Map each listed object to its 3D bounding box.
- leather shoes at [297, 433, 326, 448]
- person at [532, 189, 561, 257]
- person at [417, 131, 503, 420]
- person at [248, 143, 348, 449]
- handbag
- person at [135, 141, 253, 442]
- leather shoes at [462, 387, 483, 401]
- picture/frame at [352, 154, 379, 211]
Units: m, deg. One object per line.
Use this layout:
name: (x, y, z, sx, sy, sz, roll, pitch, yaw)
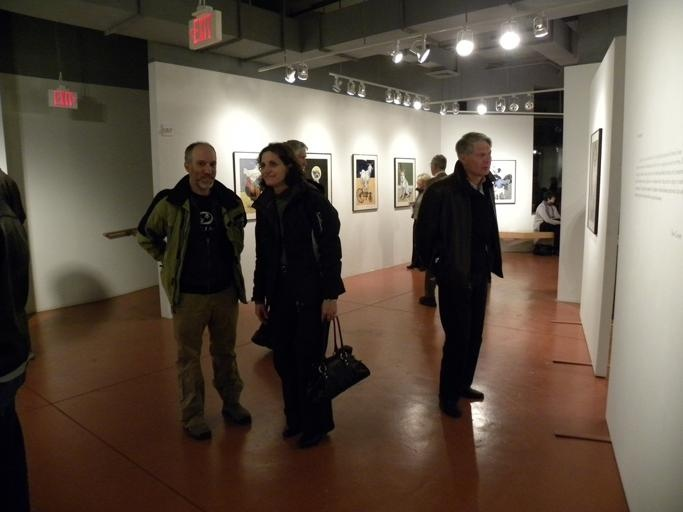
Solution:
leather shoes: (-0.234, 1.431, 3.917, 0.228, 0.111, 0.083, 2, -1, -41)
person: (5.002, -0.790, 12.135, 0.574, 1.528, 0.781, 3, 10, 22)
person: (1.022, 0.149, 4.281, 0.749, 2.362, 0.445, -6, 11, -30)
person: (-0.329, 0.315, 3.793, 0.745, 2.307, 0.441, 7, 12, 41)
handbag: (-0.068, 0.718, 3.619, 0.515, 0.642, 0.216, -25, 34, -31)
person: (-1.140, 0.270, 4.040, 0.792, 2.330, 0.531, -5, 10, -23)
leather shoes: (1.202, 1.250, 4.540, 0.223, 0.171, 0.079, -4, 6, 18)
picture/frame: (0.470, -1.468, 10.041, 0.173, 1.126, 0.878, 5, 11, 31)
